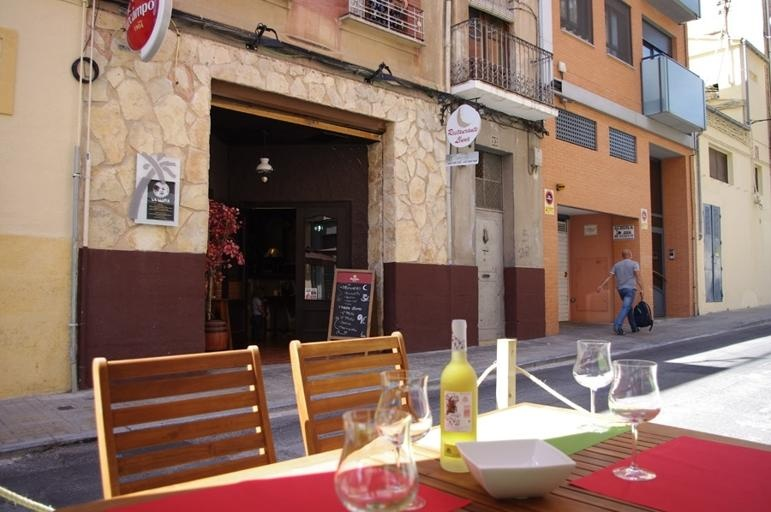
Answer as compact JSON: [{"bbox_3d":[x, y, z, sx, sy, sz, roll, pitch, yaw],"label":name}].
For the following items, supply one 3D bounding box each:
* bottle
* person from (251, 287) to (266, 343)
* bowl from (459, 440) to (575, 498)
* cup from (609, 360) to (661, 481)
[{"bbox_3d":[0.395,0.745,3.121,0.194,0.825,0.200,0,11,0],"label":"bottle"},{"bbox_3d":[-3.200,1.401,14.590,0.331,1.170,2.309,0,-2,-12],"label":"person"},{"bbox_3d":[0.644,1.054,3.048,0.536,0.257,0.524,4,-2,0],"label":"bowl"},{"bbox_3d":[1.376,0.883,3.222,0.312,0.561,0.334,0,-4,0],"label":"cup"}]
